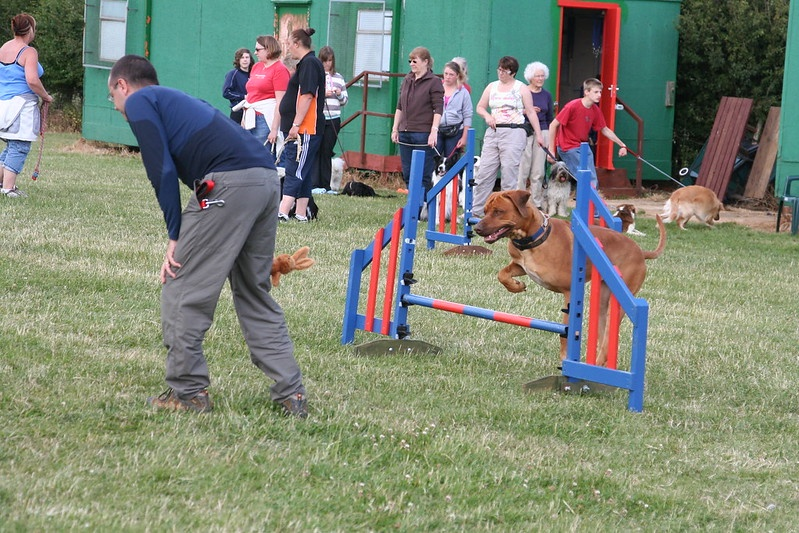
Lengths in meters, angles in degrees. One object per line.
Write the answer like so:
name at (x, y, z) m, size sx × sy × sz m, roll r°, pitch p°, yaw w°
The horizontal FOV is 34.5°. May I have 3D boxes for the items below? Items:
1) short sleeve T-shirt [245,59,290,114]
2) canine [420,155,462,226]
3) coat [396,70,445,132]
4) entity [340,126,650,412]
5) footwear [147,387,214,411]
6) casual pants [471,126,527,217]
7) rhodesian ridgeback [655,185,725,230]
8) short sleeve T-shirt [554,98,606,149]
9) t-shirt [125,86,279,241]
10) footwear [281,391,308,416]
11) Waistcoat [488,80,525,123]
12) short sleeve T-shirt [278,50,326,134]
short sleeve T-shirt at (-1.930, -2.609, 18.637) m, size 0.787 × 0.791 × 0.469 m, roll 11°, pitch 6°, yaw 42°
canine at (0.738, -1.275, 19.392) m, size 0.343 × 0.732 × 1.250 m, roll 4°, pitch 4°, yaw 13°
coat at (0.258, -2.403, 18.813) m, size 0.792 × 0.920 × 0.493 m, roll 6°, pitch 3°, yaw 39°
entity at (0.881, 0.077, 13.095) m, size 3.309 × 2.267 × 1.192 m, roll 10°, pitch 12°, yaw 27°
footwear at (-1.973, 1.271, 11.831) m, size 0.573 × 0.257 × 0.217 m, roll 4°, pitch -1°, yaw 8°
casual pants at (1.372, -1.391, 18.273) m, size 0.578 × 1.290 × 0.428 m, roll 9°, pitch 22°, yaw 7°
rhodesian ridgeback at (4.418, -0.867, 19.682) m, size 1.134 × 0.725 × 0.363 m, roll 0°, pitch 6°, yaw -34°
short sleeve T-shirt at (2.646, -2.103, 19.156) m, size 0.744 × 0.766 × 0.393 m, roll 7°, pitch 12°, yaw -11°
t-shirt at (-1.794, -0.938, 11.895) m, size 1.282 × 1.409 × 1.016 m, roll -5°, pitch 1°, yaw 33°
footwear at (-0.962, 1.300, 11.982) m, size 0.270 × 0.126 × 0.154 m, roll 7°, pitch 9°, yaw 20°
Waistcoat at (1.490, -2.308, 18.065) m, size 0.543 × 0.772 × 0.431 m, roll -1°, pitch -6°, yaw 20°
short sleeve T-shirt at (-1.329, -2.430, 17.882) m, size 0.620 × 1.206 × 1.078 m, roll 1°, pitch 4°, yaw -10°
